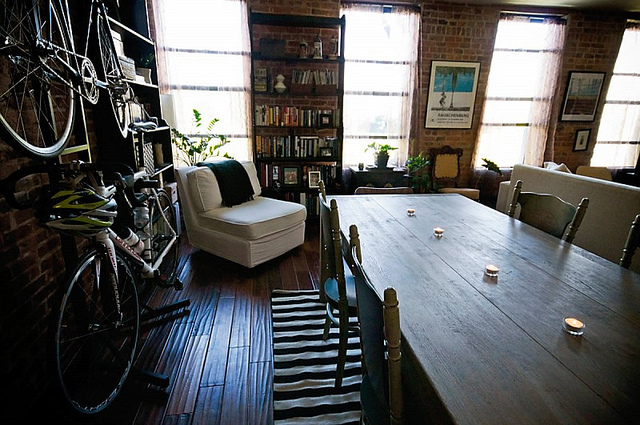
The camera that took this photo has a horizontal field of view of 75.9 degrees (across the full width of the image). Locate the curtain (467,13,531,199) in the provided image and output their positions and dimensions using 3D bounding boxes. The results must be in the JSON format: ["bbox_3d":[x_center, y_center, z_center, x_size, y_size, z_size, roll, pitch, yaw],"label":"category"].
[{"bbox_3d":[2.658,-1.493,6.052,0.737,2.669,0.297,-5,18,-17],"label":"curtain"}]

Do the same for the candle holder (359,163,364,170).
[{"bbox_3d":[0.554,-0.628,5.588,0.063,0.071,0.060,-1,21,-3],"label":"candle holder"}]

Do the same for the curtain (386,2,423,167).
[{"bbox_3d":[1.180,-1.753,5.736,0.509,2.205,0.245,1,17,2],"label":"curtain"}]

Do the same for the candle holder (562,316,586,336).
[{"bbox_3d":[1.319,0.594,2.141,0.106,0.055,0.110,14,21,36],"label":"candle holder"}]

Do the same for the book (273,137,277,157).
[{"bbox_3d":[-0.572,-0.843,5.232,0.055,0.236,0.034,-8,19,-26],"label":"book"}]

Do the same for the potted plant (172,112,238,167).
[{"bbox_3d":[-1.505,-0.906,5.324,0.691,0.786,0.757,-13,29,-34],"label":"potted plant"}]

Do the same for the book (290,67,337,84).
[{"bbox_3d":[-0.071,-1.767,5.260,0.574,0.206,0.339,1,17,0],"label":"book"}]

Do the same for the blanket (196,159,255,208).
[{"bbox_3d":[-1.031,-0.334,4.446,0.191,0.552,0.531,-20,1,37],"label":"blanket"}]

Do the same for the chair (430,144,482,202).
[{"bbox_3d":[1.925,-0.408,5.911,0.569,1.130,0.624,-3,10,-11],"label":"chair"}]

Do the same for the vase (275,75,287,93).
[{"bbox_3d":[-0.499,-1.642,5.210,0.147,0.209,0.310,-1,17,-4],"label":"vase"}]

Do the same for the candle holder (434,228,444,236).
[{"bbox_3d":[0.824,0.136,2.867,0.058,0.044,0.045,6,18,16],"label":"candle holder"}]

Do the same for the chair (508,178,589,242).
[{"bbox_3d":[1.855,-0.020,3.290,0.371,0.611,0.352,-8,31,-46],"label":"chair"}]

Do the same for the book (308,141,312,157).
[{"bbox_3d":[-0.132,-0.827,5.289,0.051,0.188,0.041,-2,17,-9],"label":"book"}]

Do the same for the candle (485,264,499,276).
[{"bbox_3d":[1.034,0.339,2.473,0.078,0.049,0.094,9,19,24],"label":"candle"}]

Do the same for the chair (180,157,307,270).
[{"bbox_3d":[-0.845,-0.040,4.409,1.105,1.009,0.871,11,19,36],"label":"chair"}]

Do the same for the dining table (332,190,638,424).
[{"bbox_3d":[1.016,0.486,2.524,1.392,0.506,1.717,-4,18,-14],"label":"dining table"}]

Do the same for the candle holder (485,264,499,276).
[{"bbox_3d":[1.018,0.342,2.440,0.056,0.040,0.065,1,12,2],"label":"candle holder"}]

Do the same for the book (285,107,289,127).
[{"bbox_3d":[-0.425,-1.222,5.194,0.062,0.192,0.194,1,10,-2],"label":"book"}]

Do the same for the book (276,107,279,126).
[{"bbox_3d":[-0.541,-1.212,5.173,0.033,0.214,0.029,-1,17,-6],"label":"book"}]

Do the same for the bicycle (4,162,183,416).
[{"bbox_3d":[-1.581,0.394,2.979,0.711,1.590,1.505,3,17,8],"label":"bicycle"}]

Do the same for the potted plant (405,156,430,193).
[{"bbox_3d":[1.418,-0.570,6.035,0.389,0.575,0.380,1,17,0],"label":"potted plant"}]

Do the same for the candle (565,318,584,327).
[{"bbox_3d":[1.310,0.569,2.120,0.044,0.011,0.046,-2,21,0],"label":"candle"}]

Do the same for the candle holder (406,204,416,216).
[{"bbox_3d":[0.743,-0.034,3.349,0.089,0.069,0.093,0,11,10],"label":"candle holder"}]

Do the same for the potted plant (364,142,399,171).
[{"bbox_3d":[0.826,-0.793,5.698,0.438,0.348,0.408,0,17,-2],"label":"potted plant"}]

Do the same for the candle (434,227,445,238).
[{"bbox_3d":[0.833,0.132,2.873,0.062,0.048,0.059,12,20,41],"label":"candle"}]
